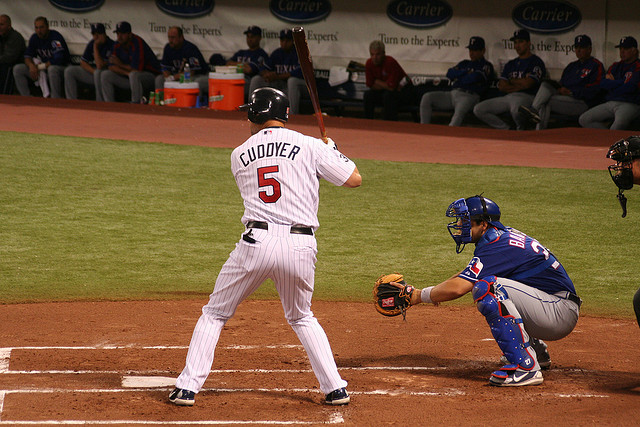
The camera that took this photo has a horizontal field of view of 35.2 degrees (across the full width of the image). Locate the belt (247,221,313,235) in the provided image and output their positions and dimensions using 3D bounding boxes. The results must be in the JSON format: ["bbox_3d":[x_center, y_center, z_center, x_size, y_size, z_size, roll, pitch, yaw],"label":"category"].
[{"bbox_3d":[-0.373,0.126,9.259,0.579,0.114,0.070,1,12,0],"label":"belt"}]

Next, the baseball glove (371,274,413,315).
[{"bbox_3d":[0.789,0.813,10.030,0.487,0.317,0.470,-3,-10,-14],"label":"baseball glove"}]

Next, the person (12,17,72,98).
[{"bbox_3d":[-5.462,-3.086,19.960,1.161,1.563,0.678,2,13,2],"label":"person"}]

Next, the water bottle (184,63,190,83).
[{"bbox_3d":[-2.501,-2.650,19.044,0.095,0.339,0.242,0,12,-7],"label":"water bottle"}]

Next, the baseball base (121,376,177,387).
[{"bbox_3d":[-1.636,1.600,9.669,0.510,0.048,0.198,0,9,-5],"label":"baseball base"}]

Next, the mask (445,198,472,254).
[{"bbox_3d":[1.342,0.128,9.883,0.248,0.566,0.326,4,13,7],"label":"mask"}]
